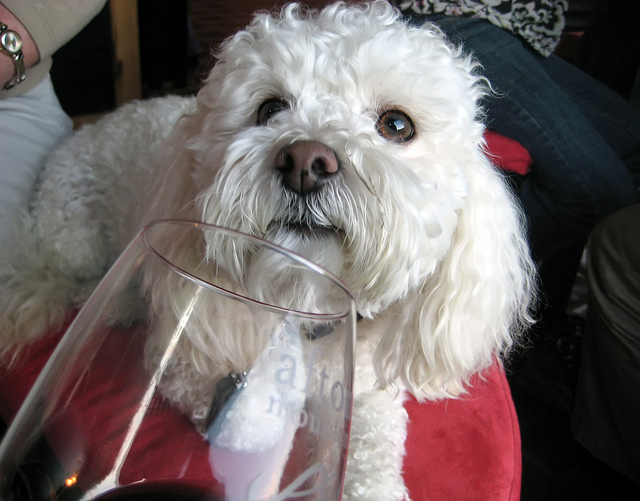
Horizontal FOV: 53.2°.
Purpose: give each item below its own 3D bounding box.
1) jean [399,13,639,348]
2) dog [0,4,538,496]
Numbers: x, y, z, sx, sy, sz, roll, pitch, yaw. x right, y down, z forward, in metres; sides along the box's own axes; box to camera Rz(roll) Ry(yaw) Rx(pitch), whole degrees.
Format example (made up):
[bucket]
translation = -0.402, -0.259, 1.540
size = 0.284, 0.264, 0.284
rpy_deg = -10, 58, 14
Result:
[jean]
translation = 0.594, -0.184, 1.940
size = 1.149, 0.379, 0.547
rpy_deg = 40, -16, -31
[dog]
translation = -0.116, 0.049, 1.666
size = 1.003, 0.804, 1.406
rpy_deg = 7, 35, -27
